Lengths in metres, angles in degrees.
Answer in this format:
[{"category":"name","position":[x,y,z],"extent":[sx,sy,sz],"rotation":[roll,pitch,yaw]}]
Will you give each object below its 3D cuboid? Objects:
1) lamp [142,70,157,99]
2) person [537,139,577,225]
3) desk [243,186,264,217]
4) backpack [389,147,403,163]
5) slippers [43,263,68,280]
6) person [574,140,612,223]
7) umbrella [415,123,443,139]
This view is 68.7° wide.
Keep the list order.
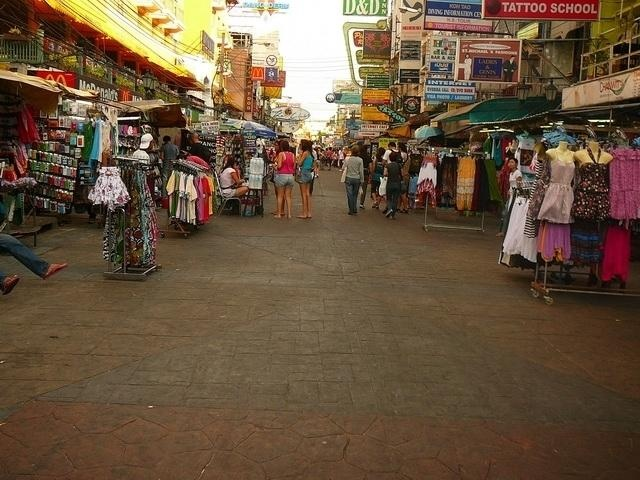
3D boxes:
[{"category":"lamp","position":[-8.794,-7.900,24.014],"extent":[0.445,1.330,1.795],"rotation":[2,9,-6]},{"category":"person","position":[3.601,-0.893,7.085],"extent":[0.486,1.200,0.283],"rotation":[4,8,10]},{"category":"desk","position":[-2.269,-1.278,15.865],"extent":[0.858,1.116,0.664],"rotation":[0,6,-7]},{"category":"backpack","position":[2.778,-2.982,16.671],"extent":[0.432,0.608,0.595],"rotation":[-3,10,-2]},{"category":"slippers","position":[-3.741,0.437,6.577],"extent":[0.129,0.107,0.313],"rotation":[27,41,22]},{"category":"person","position":[4.052,-0.890,6.950],"extent":[0.529,1.148,0.339],"rotation":[6,9,22]},{"category":"umbrella","position":[5.211,-5.209,22.551],"extent":[1.030,0.659,2.027],"rotation":[2,9,-1]}]
